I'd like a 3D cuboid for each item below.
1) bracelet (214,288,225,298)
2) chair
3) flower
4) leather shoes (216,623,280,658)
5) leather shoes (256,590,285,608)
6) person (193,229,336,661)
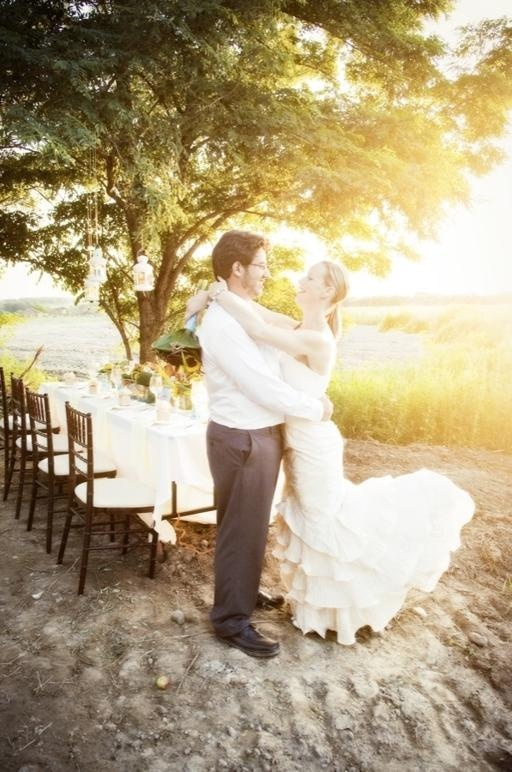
[{"bbox_3d":[-0.165,-0.401,2.464,0.019,0.039,0.052,28,-30,-7],"label":"bracelet"},{"bbox_3d":[-1.173,0.673,3.830,0.395,0.776,1.183,-1,19,-30],"label":"chair"},{"bbox_3d":[-0.359,-0.199,2.600,0.207,0.276,0.143,3,18,-7],"label":"flower"},{"bbox_3d":[-0.027,1.179,2.610,0.278,0.127,0.119,10,-1,22],"label":"leather shoes"},{"bbox_3d":[0.074,1.182,3.032,0.156,0.052,0.150,4,-1,-9],"label":"leather shoes"},{"bbox_3d":[-0.030,0.277,2.535,0.548,1.892,0.371,0,8,-13],"label":"person"}]
